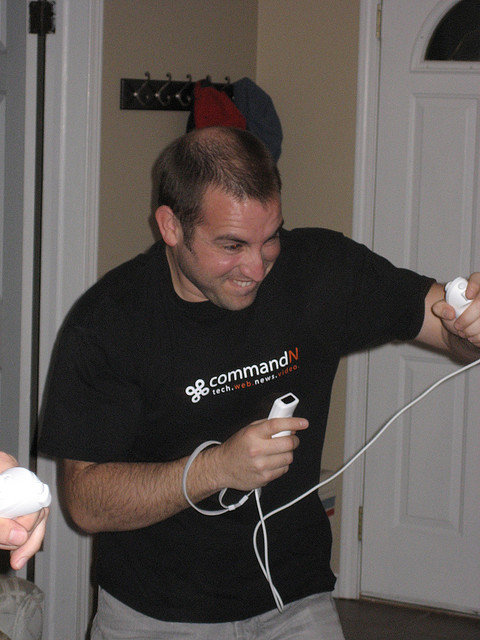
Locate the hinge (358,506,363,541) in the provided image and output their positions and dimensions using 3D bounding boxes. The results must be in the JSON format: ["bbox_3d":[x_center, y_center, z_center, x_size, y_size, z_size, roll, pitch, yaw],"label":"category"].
[{"bbox_3d":[0.474,0.801,2.530,0.018,0.136,0.011,3,7,10],"label":"hinge"}]

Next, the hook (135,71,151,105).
[{"bbox_3d":[-0.304,-0.712,2.006,0.013,0.076,0.054,8,9,41],"label":"hook"}]

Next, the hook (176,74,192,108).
[{"bbox_3d":[-0.186,-0.766,2.137,0.035,0.114,0.072,3,6,11],"label":"hook"}]

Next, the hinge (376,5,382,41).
[{"bbox_3d":[0.502,-1.074,2.316,0.018,0.117,0.015,3,7,12],"label":"hinge"}]

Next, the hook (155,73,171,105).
[{"bbox_3d":[-0.248,-0.748,2.066,0.025,0.104,0.080,3,6,14],"label":"hook"}]

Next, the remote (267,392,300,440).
[{"bbox_3d":[0.065,0.150,1.006,0.040,0.067,0.067,5,7,23],"label":"remote"}]

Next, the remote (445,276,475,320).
[{"bbox_3d":[0.359,-0.036,1.069,0.018,0.038,0.064,18,33,-49],"label":"remote"}]
